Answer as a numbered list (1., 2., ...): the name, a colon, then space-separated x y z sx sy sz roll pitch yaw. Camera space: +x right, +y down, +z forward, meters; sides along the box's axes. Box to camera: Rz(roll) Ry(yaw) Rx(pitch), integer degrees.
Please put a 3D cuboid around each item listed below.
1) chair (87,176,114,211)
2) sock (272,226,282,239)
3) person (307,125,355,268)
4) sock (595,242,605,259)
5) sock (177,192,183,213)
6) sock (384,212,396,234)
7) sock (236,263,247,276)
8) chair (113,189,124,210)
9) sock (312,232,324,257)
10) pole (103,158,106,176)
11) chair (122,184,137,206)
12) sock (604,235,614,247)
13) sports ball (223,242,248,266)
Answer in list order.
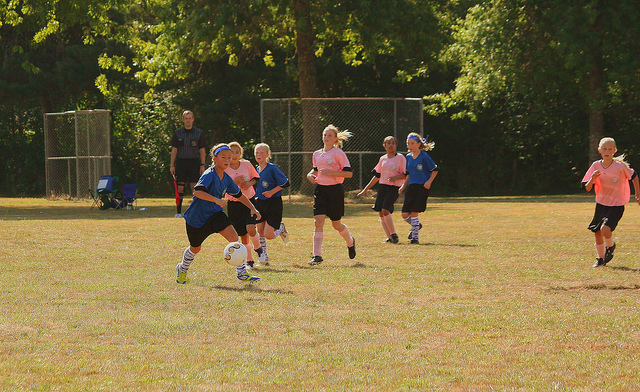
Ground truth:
1. chair: -6.781 -0.122 29.475 0.756 1.104 2.278 -2 12 -12
2. sock: -0.935 0.785 20.522 0.139 0.259 0.430 3 12 11
3. person: 0.239 -0.065 20.440 0.955 2.922 1.520 0 12 -1
4. sock: 5.859 1.121 19.763 0.168 0.295 0.210 3 12 11
5. sock: -3.862 0.160 26.048 0.114 0.623 0.279 -2 13 -9
6. sock: 1.648 0.625 22.392 0.245 0.493 0.210 1 12 3
7. sock: -1.557 1.441 18.834 0.182 0.239 0.246 -1 12 -7
8. chair: -6.277 0.011 29.521 0.324 0.548 1.128 -2 12 -12
9. sock: -0.040 1.014 20.143 0.163 0.467 0.380 1 12 2
10. pole: -7.013 -0.992 30.826 0.086 0.540 0.307 -2 13 -12
11. chair: -5.918 -0.053 29.394 0.418 0.644 0.302 -3 13 -17
12. sock: 6.089 0.949 19.926 0.200 0.234 0.288 4 12 17
13. sports ball: -1.629 1.188 18.983 0.496 0.454 0.477 0 -26 0
